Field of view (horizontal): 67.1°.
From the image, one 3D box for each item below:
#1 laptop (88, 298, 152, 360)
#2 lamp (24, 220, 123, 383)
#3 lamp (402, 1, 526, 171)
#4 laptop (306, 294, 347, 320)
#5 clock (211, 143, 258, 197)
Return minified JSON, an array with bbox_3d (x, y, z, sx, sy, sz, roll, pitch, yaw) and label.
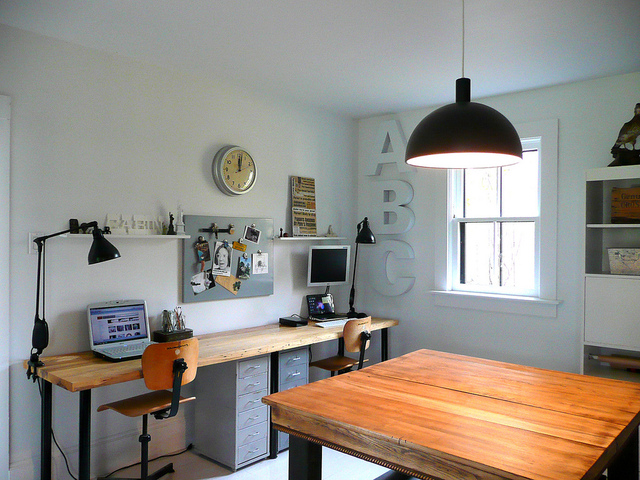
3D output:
[{"bbox_3d":[-1.412,0.607,3.393,0.375,0.363,0.399,2,-2,-44],"label":"laptop"},{"bbox_3d":[-1.669,0.387,3.222,0.572,1.026,0.416,-5,8,-31],"label":"lamp"},{"bbox_3d":[0.679,-0.639,2.392,0.535,1.039,0.525,0,0,-39],"label":"lamp"},{"bbox_3d":[0.037,0.620,4.732,0.239,0.191,0.294,-3,-6,44],"label":"laptop"},{"bbox_3d":[-0.752,-0.599,4.128,0.094,0.488,0.466,-6,-6,39],"label":"clock"}]
